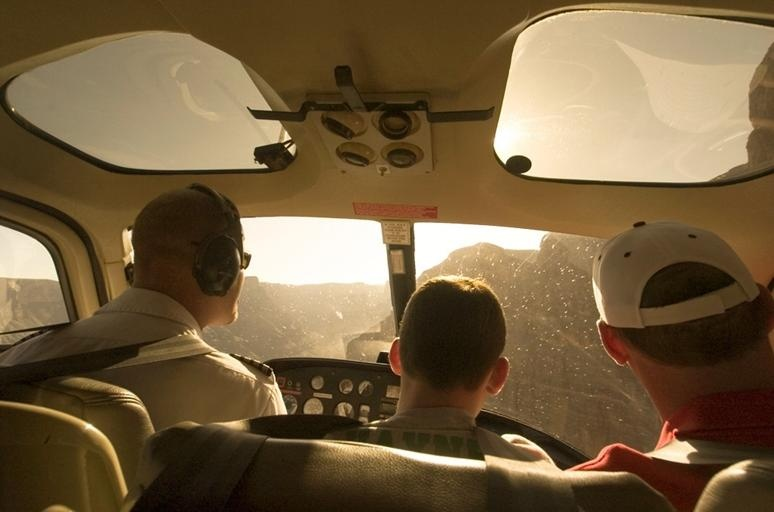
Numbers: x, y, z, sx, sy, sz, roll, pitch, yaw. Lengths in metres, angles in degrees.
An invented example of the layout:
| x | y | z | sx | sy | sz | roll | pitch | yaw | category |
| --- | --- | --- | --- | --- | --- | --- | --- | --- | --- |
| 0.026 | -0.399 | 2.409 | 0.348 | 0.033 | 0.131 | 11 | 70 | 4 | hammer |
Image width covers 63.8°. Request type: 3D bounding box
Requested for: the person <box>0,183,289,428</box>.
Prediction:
| x | y | z | sx | sy | sz | roll | pitch | yaw | category |
| --- | --- | --- | --- | --- | --- | --- | --- | --- | --- |
| -0.936 | 0.294 | 3.152 | 1.393 | 1.212 | 1.086 | -1 | -11 | 10 | person |
